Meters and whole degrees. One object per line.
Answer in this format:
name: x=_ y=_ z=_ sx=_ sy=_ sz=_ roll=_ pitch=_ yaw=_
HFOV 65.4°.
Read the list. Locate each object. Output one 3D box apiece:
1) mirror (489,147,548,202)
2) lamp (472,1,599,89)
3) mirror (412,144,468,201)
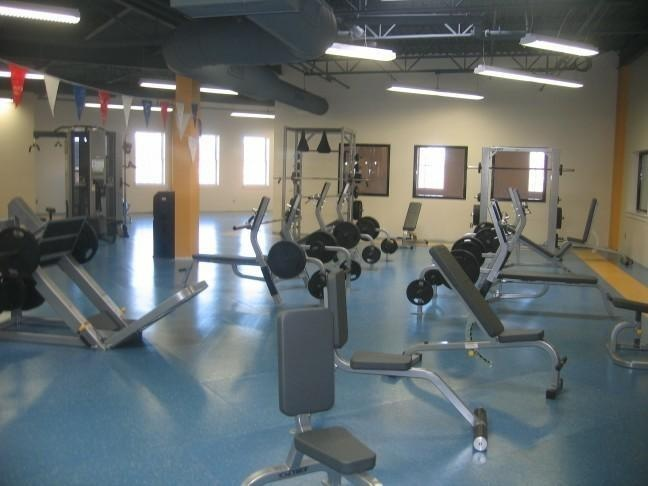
mirror: x=4.055 y=-1.435 z=10.433 sx=1.451 sy=1.492 sz=0.171 roll=6 pitch=9 yaw=16
lamp: x=3.107 y=-2.584 z=7.246 sx=2.053 sy=1.415 sz=0.768 roll=11 pitch=9 yaw=33
mirror: x=2.605 y=-1.612 z=11.164 sx=1.068 sy=1.217 sz=0.054 roll=2 pitch=3 yaw=11
